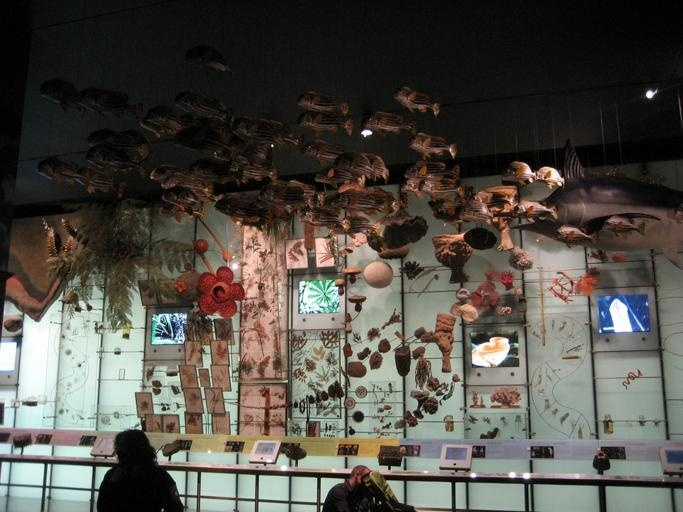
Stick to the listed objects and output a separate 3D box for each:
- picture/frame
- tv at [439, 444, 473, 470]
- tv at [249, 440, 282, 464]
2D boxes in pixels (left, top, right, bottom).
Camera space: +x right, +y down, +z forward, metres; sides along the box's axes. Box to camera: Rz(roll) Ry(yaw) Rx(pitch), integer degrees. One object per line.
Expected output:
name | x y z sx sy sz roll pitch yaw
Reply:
picture/frame | -2.970 2.312 12.985 1.770 2.280 0.797 -5 -13 14
tv | 1.794 3.148 10.316 0.429 0.270 0.199 -4 -32 23
tv | -1.249 3.251 10.898 0.486 0.363 0.422 -3 -11 5
